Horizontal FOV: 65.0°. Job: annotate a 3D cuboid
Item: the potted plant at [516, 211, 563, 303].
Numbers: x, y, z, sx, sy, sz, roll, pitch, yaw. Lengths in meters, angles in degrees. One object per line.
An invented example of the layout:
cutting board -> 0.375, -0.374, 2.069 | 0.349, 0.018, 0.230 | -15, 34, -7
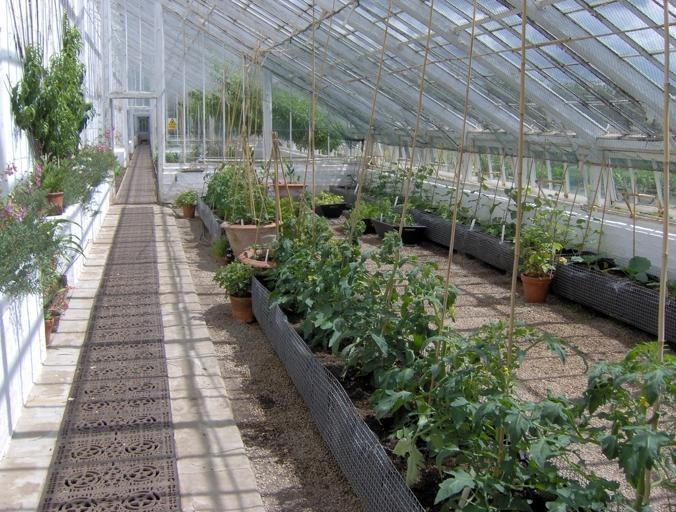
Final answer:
potted plant -> 2.528, 0.050, 6.749 | 0.524, 1.029, 0.548 | 1, 4, -21

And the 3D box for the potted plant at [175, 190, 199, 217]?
potted plant -> -3.371, -1.154, 12.018 | 0.658, 0.663, 0.549 | 0, -1, -6
